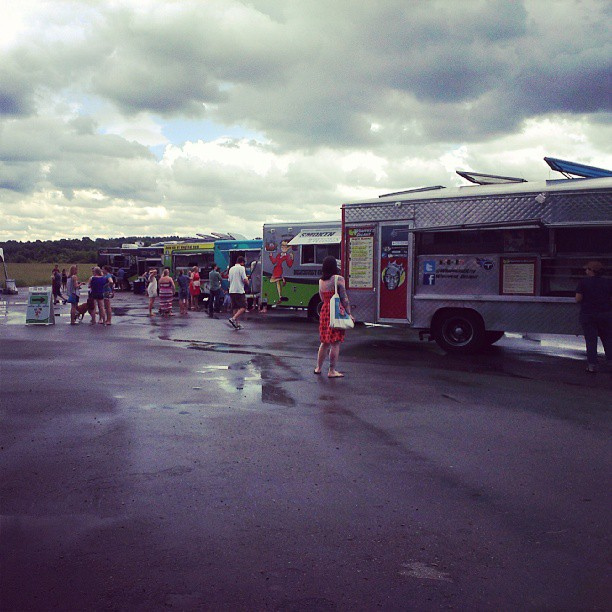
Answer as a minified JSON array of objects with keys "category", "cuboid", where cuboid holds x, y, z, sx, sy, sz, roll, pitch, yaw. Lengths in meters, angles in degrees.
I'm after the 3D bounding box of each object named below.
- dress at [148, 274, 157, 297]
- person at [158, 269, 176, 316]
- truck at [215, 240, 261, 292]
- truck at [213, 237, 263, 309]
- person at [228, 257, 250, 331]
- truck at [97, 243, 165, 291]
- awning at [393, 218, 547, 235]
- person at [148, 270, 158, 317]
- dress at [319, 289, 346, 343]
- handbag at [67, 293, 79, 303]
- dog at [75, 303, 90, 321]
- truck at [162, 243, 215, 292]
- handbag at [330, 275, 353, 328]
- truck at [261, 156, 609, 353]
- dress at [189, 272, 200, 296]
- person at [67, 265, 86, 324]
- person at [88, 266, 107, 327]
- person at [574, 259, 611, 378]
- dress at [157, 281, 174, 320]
[{"category":"dress","cuboid":[-5.670,-0.673,20.792,0.210,0.715,0.406,-1,3,-25]},{"category":"person","cuboid":[-5.067,-0.450,20.629,0.562,1.704,1.610,0,3,-14]},{"category":"truck","cuboid":[-2.848,-1.845,25.103,2.128,2.374,1.451,-4,11,-6]},{"category":"truck","cuboid":[-2.625,-1.775,25.470,2.424,2.725,1.912,12,31,20]},{"category":"person","cuboid":[-2.007,-0.402,16.596,0.634,2.160,0.672,-3,-8,41]},{"category":"truck","cuboid":[-12.788,-3.376,43.283,5.575,4.064,2.040,3,17,5]},{"category":"awning","cuboid":[3.100,-1.493,10.669,2.645,0.224,0.608,3,3,34]},{"category":"person","cuboid":[-5.693,-0.457,20.840,0.267,1.692,0.956,-1,3,-17]},{"category":"dress","cuboid":[0.375,0.187,8.922,0.392,0.842,0.324,1,3,11]},{"category":"handbag","cuboid":[-7.610,-0.231,18.449,0.222,0.284,0.262,4,8,10]},{"category":"dog","cuboid":[-7.301,0.216,18.381,0.397,0.540,0.620,-1,3,-24]},{"category":"truck","cuboid":[-6.056,-2.025,29.160,3.043,2.420,2.263,-4,10,-29]},{"category":"handbag","cuboid":[0.532,-0.053,8.779,0.336,0.800,0.212,1,3,6]},{"category":"truck","cuboid":[2.885,-0.991,12.150,5.924,3.082,3.676,-1,1,42]},{"category":"dress","cuboid":[-4.952,-0.931,24.944,0.390,1.024,1.291,0,3,-15]},{"category":"person","cuboid":[-7.569,-0.359,18.637,0.517,1.944,0.536,0,0,-38]},{"category":"person","cuboid":[-6.473,-0.283,17.515,0.508,1.784,2.129,-1,3,-22]},{"category":"person","cuboid":[4.791,0.175,9.591,0.508,1.856,0.902,3,4,40]},{"category":"dress","cuboid":[-5.140,-0.333,20.514,0.527,1.814,0.576,-3,-23,-12]}]
